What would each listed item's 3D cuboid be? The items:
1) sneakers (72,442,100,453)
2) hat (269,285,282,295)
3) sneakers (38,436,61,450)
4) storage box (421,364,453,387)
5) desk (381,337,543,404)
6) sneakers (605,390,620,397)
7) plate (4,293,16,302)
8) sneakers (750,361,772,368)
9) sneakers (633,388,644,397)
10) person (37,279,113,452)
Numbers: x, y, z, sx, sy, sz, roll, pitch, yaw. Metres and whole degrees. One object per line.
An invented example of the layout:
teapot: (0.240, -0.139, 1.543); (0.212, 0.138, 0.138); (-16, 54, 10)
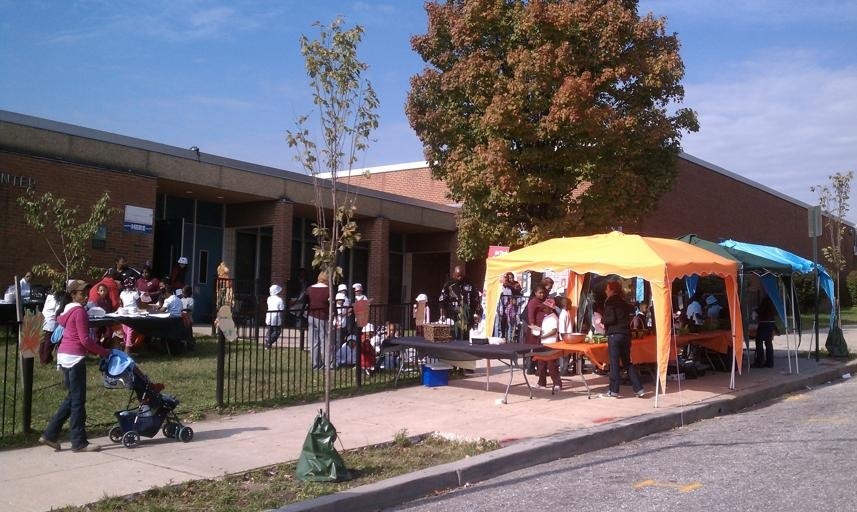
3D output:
sneakers: (-6.617, 3.742, 15.282); (0.532, 0.216, 0.192); (-1, -2, -10)
hat: (-4.878, 1.090, 24.839); (0.480, 0.144, 0.472); (-9, -2, -9)
sneakers: (-7.385, 3.660, 15.279); (0.556, 0.239, 0.205); (3, -7, 33)
storage box: (0.226, 3.105, 20.339); (0.849, 0.586, 0.532); (4, -8, -34)
desk: (1.025, 2.819, 19.509); (3.602, 1.685, 3.097); (1, -9, -14)
sneakers: (4.511, 3.381, 19.194); (0.357, 0.156, 0.149); (2, -4, 13)
plate: (-11.881, 1.208, 22.285); (0.268, 0.344, 1.224); (3, -10, -28)
sneakers: (9.982, 3.289, 23.524); (0.588, 0.229, 0.213); (-5, -6, 17)
sneakers: (5.196, 3.388, 19.378); (0.140, 0.164, 0.370); (-8, -9, -9)
person: (-7.036, 2.171, 15.556); (0.986, 3.352, 1.194); (3, -9, -29)
